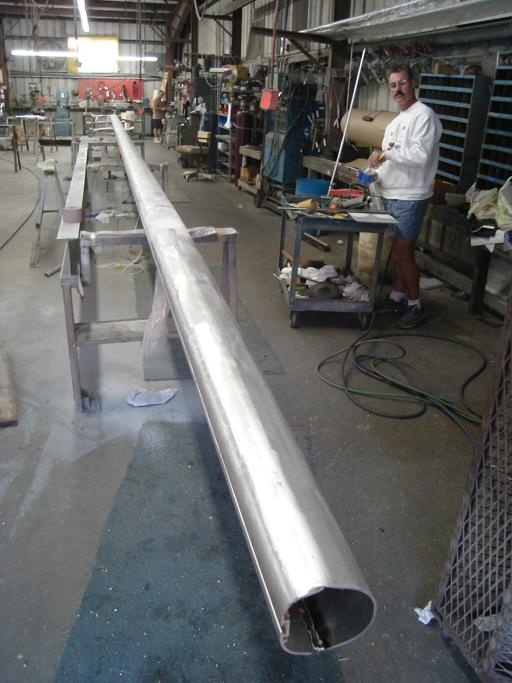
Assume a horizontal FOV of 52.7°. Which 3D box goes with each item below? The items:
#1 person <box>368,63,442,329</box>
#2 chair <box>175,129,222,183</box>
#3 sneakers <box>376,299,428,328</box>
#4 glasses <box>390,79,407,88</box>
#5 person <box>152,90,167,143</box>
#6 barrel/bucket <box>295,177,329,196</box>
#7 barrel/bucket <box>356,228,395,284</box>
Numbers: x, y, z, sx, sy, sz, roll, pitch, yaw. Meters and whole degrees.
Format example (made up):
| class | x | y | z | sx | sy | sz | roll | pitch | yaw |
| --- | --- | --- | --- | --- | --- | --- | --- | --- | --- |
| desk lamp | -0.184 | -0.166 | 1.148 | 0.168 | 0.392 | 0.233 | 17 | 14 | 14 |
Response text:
| class | x | y | z | sx | sy | sz | roll | pitch | yaw |
| --- | --- | --- | --- | --- | --- | --- | --- | --- | --- |
| person | 0.914 | -0.877 | 3.246 | 0.471 | 1.516 | 0.413 | 14 | 24 | 27 |
| chair | -1.123 | -3.454 | 9.515 | 0.505 | 0.802 | 0.616 | -11 | 23 | -32 |
| sneakers | 0.994 | -0.202 | 3.456 | 0.156 | 0.192 | 0.426 | 18 | 16 | 42 |
| glasses | 0.839 | -1.512 | 3.022 | 0.051 | 0.058 | 0.018 | 12 | -4 | 18 |
| person | -2.720 | -6.268 | 14.338 | 0.387 | 1.322 | 1.957 | -2 | 23 | -11 |
| barrel/bucket | 0.452 | -1.236 | 4.153 | 0.240 | 0.100 | 0.467 | 9 | 24 | 15 |
| barrel/bucket | 0.926 | -0.636 | 3.884 | 0.206 | 0.354 | 0.217 | 11 | -3 | 1 |
